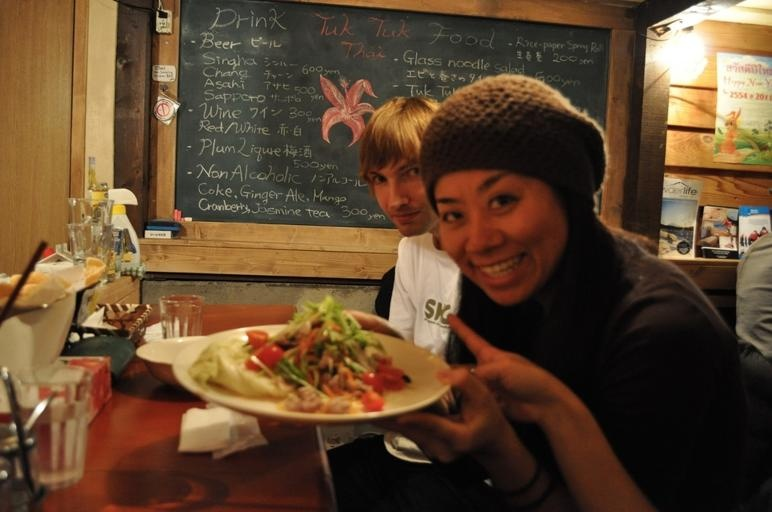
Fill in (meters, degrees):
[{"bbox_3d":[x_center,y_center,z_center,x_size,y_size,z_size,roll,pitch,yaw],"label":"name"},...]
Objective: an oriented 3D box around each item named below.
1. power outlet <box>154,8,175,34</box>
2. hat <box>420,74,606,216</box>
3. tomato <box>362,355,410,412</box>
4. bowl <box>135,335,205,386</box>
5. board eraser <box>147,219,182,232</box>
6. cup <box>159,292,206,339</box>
[{"bbox_3d":[-1.345,-1.439,3.663,0.100,0.145,0.038,0,11,-8],"label":"power outlet"},{"bbox_3d":[0.352,-0.330,1.894,0.479,0.423,0.583,-4,8,3],"label":"hat"},{"bbox_3d":[-0.005,0.345,1.648,0.033,0.104,0.105,25,44,-1],"label":"tomato"},{"bbox_3d":[-0.637,0.289,1.784,0.169,0.065,0.168,0,9,0],"label":"bowl"},{"bbox_3d":[-1.351,-0.187,3.694,0.210,0.080,0.063,-3,12,-21],"label":"board eraser"},{"bbox_3d":[-0.686,0.203,2.046,0.134,0.140,0.132,1,3,0],"label":"cup"}]
